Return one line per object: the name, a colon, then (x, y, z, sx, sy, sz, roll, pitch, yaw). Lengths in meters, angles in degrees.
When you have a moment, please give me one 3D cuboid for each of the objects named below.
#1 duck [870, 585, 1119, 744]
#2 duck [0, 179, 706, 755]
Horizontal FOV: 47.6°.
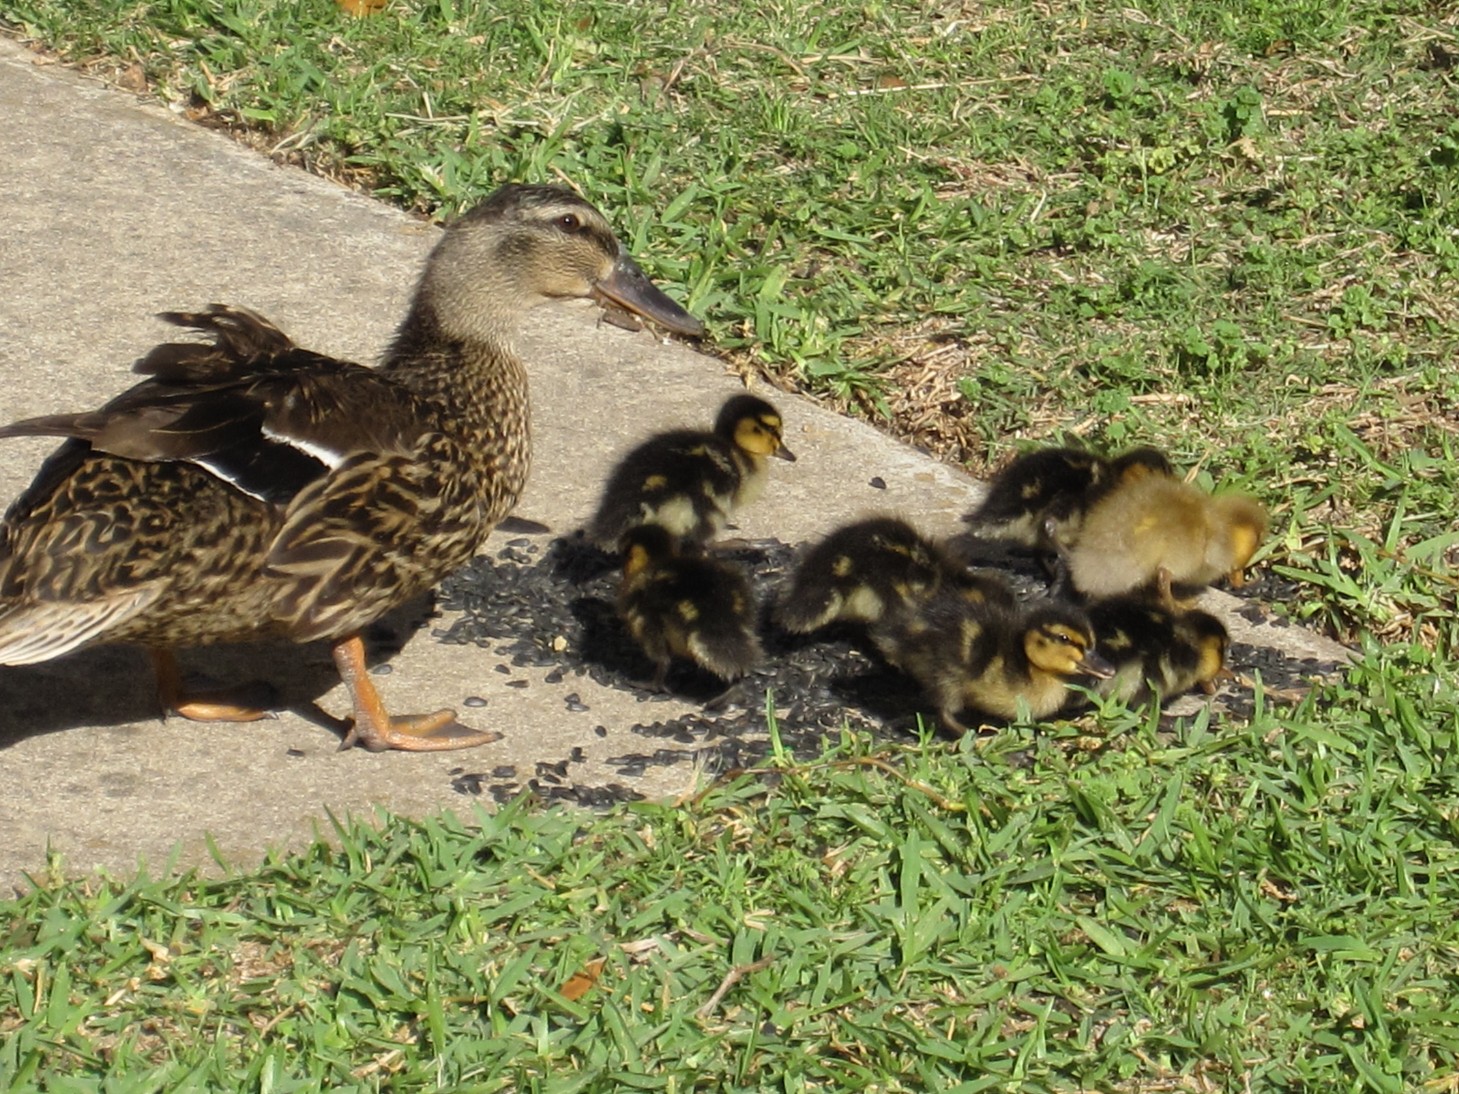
duck: (0.655, 0.284, 4.136, 0.262, 0.376, 0.506, 4, 26, -45)
duck: (-0.876, -0.223, 4.065, 1.197, 1.380, 1.168, 25, 22, -5)
